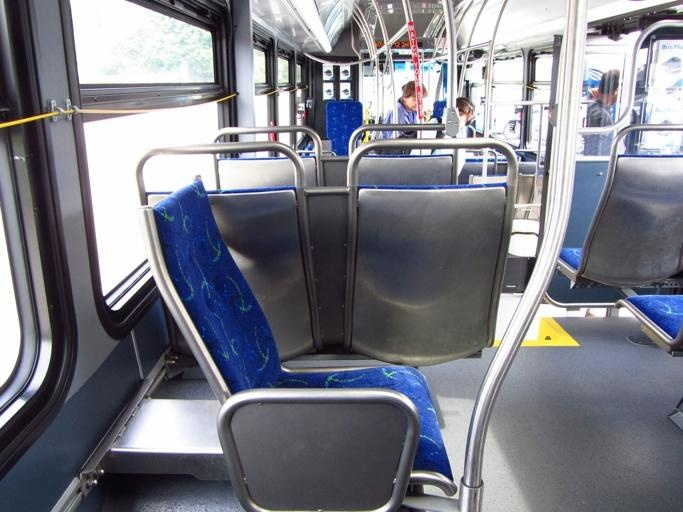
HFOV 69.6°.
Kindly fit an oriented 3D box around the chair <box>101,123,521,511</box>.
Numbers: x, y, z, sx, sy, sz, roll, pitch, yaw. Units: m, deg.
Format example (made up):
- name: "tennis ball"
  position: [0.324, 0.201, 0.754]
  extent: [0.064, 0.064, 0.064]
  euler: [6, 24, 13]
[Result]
- name: "chair"
  position: [0.029, 0.147, 2.209]
  extent: [1.627, 1.715, 1.248]
  euler: [0, 11, 0]
